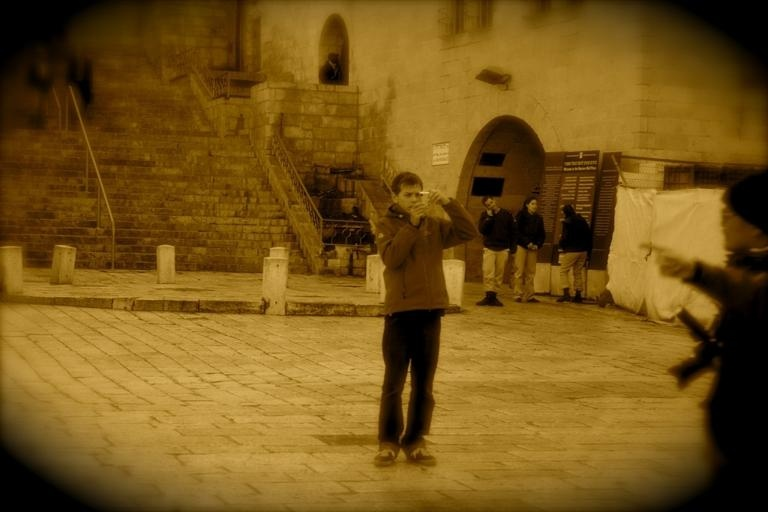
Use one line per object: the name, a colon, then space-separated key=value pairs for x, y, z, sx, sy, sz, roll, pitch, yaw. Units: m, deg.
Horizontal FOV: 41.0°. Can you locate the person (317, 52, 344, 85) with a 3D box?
person: x=-1.539 y=-5.513 z=29.845 sx=0.677 sy=0.885 sz=0.330 roll=1 pitch=6 yaw=-10

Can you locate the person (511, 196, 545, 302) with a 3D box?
person: x=2.507 y=-0.101 z=17.955 sx=0.489 sy=1.818 sz=0.741 roll=3 pitch=6 yaw=7

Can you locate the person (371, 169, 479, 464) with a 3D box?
person: x=0.267 y=0.475 z=8.078 sx=0.682 sy=2.254 sz=0.522 roll=1 pitch=6 yaw=-11

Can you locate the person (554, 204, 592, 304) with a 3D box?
person: x=3.416 y=-0.062 z=18.420 sx=0.546 sy=1.711 sz=1.013 roll=3 pitch=6 yaw=12

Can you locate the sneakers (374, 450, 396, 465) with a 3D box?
sneakers: x=0.006 y=1.563 z=7.919 sx=0.173 sy=0.119 sz=0.121 roll=2 pitch=6 yaw=-1

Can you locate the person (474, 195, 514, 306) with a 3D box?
person: x=1.890 y=-0.081 z=17.514 sx=0.611 sy=1.812 sz=1.141 roll=3 pitch=6 yaw=5
